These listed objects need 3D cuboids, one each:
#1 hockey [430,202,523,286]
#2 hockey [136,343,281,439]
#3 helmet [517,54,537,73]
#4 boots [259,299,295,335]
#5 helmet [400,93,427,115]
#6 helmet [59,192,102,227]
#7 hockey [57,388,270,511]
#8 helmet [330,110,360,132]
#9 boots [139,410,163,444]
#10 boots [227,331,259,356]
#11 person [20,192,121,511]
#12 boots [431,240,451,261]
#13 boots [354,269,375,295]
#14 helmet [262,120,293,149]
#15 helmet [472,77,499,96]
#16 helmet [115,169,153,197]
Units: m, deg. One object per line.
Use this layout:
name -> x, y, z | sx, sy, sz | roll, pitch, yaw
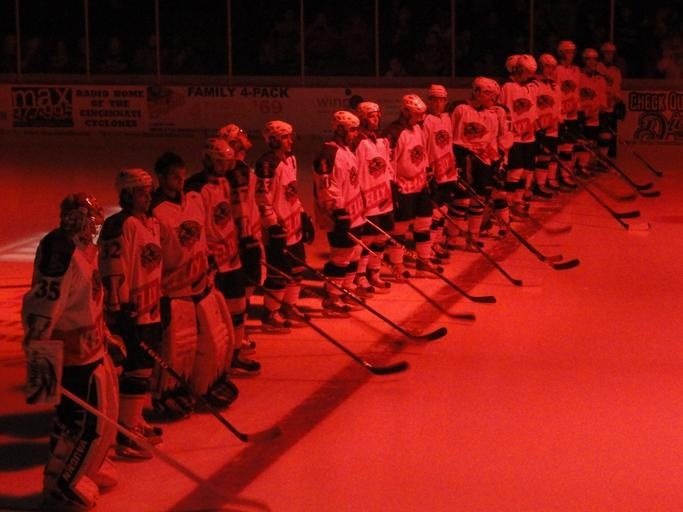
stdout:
hockey -> 1.709, -0.135, 9.083 | 0.271, 0.148, 1.800 | -44, 58, -15
hockey -> -0.974, 0.968, 4.920 | 0.164, 0.136, 1.097 | 10, 19, -47
helmet -> 2.769, -2.859, 10.460 | 0.274, 0.252, 0.238 | 2, 12, 1
boots -> -0.551, 0.590, 6.737 | 0.461, 0.442, 0.185 | 1, 6, 1
helmet -> 0.804, -1.720, 8.078 | 0.279, 0.146, 0.207 | 27, 45, 32
helmet -> -1.422, -0.257, 3.865 | 0.208, 0.196, 0.163 | -28, 20, -11
hockey -> -1.095, 1.180, 4.195 | 0.970, 0.052, 0.194 | 36, 39, 1
helmet -> 0.025, -1.391, 7.133 | 0.269, 0.180, 0.198 | 8, 28, 11
boots -> -1.262, 1.177, 4.649 | 0.120, 0.146, 0.364 | -11, -8, -11
boots -> -0.830, 0.729, 5.784 | 0.219, 0.269, 0.651 | 2, -8, -7
person -> -1.469, 0.532, 3.808 | 0.489, 1.706, 0.469 | -4, 14, -27
boots -> 1.273, -0.080, 9.251 | 0.160, 0.190, 0.420 | -11, 15, -23
boots -> 0.244, 0.303, 7.821 | 0.142, 0.145, 0.321 | -4, 20, -9
helmet -> -0.615, -1.186, 6.708 | 0.305, 0.285, 0.231 | -7, 22, -2
helmet -> 1.926, -2.252, 9.323 | 0.316, 0.244, 0.238 | 2, 19, 10
helmet -> -1.282, -0.452, 4.385 | 0.198, 0.189, 0.148 | -6, 18, -1
